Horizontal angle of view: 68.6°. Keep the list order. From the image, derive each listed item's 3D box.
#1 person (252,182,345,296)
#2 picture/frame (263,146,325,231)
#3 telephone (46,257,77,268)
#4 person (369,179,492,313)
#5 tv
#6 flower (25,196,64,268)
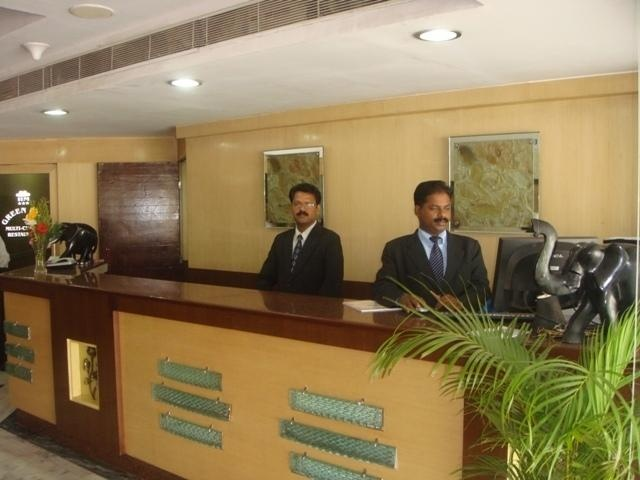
[{"bbox_3d":[-0.193,0.057,4.841,0.908,1.272,0.896,9,12,28],"label":"person"},{"bbox_3d":[-0.307,-0.706,6.036,1.217,1.360,0.091,1,7,29],"label":"picture/frame"},{"bbox_3d":[-3.066,0.268,5.623,0.354,0.093,0.146,5,-7,-44],"label":"telephone"},{"bbox_3d":[0.904,0.293,3.711,0.954,1.480,0.750,-1,5,0],"label":"person"},{"bbox_3d":[1.412,0.223,2.937,0.606,0.494,0.298,3,0,13],"label":"tv"},{"bbox_3d":[-3.220,-0.069,5.508,0.342,0.819,0.854,-4,6,-30],"label":"flower"}]
